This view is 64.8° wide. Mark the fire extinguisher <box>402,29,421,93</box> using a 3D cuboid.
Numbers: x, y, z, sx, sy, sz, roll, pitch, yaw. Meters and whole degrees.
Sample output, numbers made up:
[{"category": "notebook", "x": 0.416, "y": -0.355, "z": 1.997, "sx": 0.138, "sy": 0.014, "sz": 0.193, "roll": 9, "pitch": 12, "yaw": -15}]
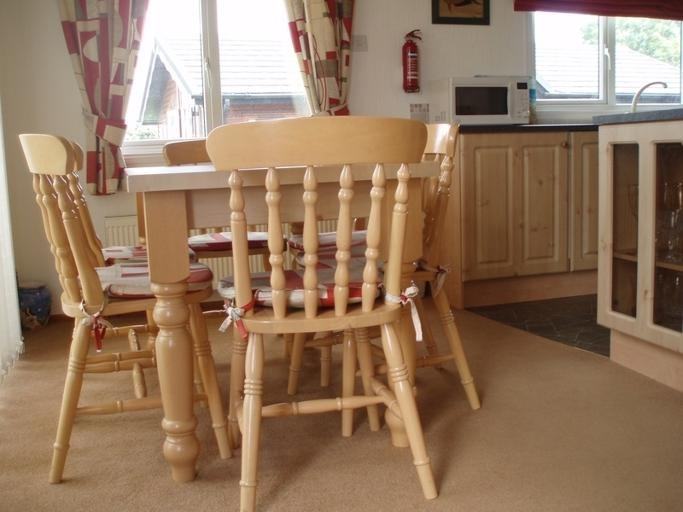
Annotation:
[{"category": "fire extinguisher", "x": 0.492, "y": -1.391, "z": 3.814, "sx": 0.126, "sy": 0.448, "sz": 0.171, "roll": 1, "pitch": 12, "yaw": 15}]

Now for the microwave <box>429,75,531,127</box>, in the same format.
[{"category": "microwave", "x": 0.963, "y": -1.096, "z": 3.782, "sx": 0.706, "sy": 0.333, "sz": 0.255, "roll": 0, "pitch": 12, "yaw": 9}]

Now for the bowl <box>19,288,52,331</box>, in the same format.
[{"category": "bowl", "x": -1.886, "y": 0.335, "z": 3.310, "sx": 0.164, "sy": 0.262, "sz": 0.240, "roll": 2, "pitch": 11, "yaw": 1}]

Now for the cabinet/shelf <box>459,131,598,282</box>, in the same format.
[{"category": "cabinet/shelf", "x": 1.191, "y": -0.357, "z": 3.541, "sx": 0.916, "sy": 0.913, "sz": 0.514, "roll": -2, "pitch": 2, "yaw": -14}]
